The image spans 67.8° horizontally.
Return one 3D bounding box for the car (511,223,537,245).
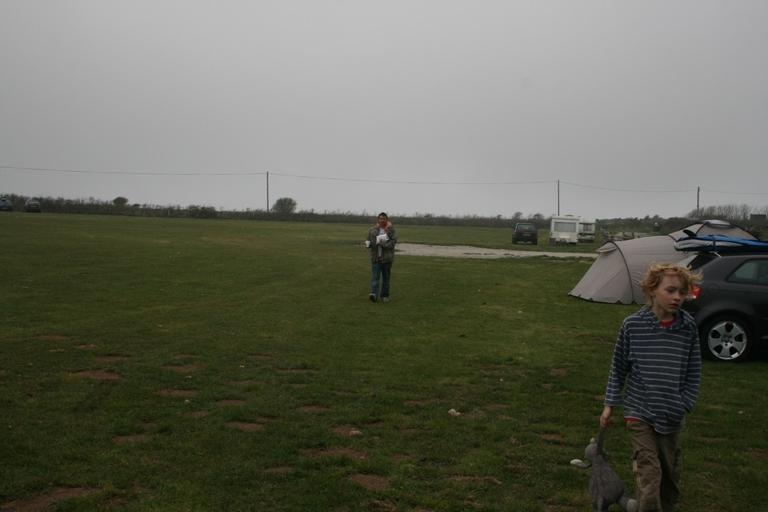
[{"bbox_3d":[12.332,-1.965,50.338,1.337,1.229,2.723,1,6,7],"label":"car"}]
